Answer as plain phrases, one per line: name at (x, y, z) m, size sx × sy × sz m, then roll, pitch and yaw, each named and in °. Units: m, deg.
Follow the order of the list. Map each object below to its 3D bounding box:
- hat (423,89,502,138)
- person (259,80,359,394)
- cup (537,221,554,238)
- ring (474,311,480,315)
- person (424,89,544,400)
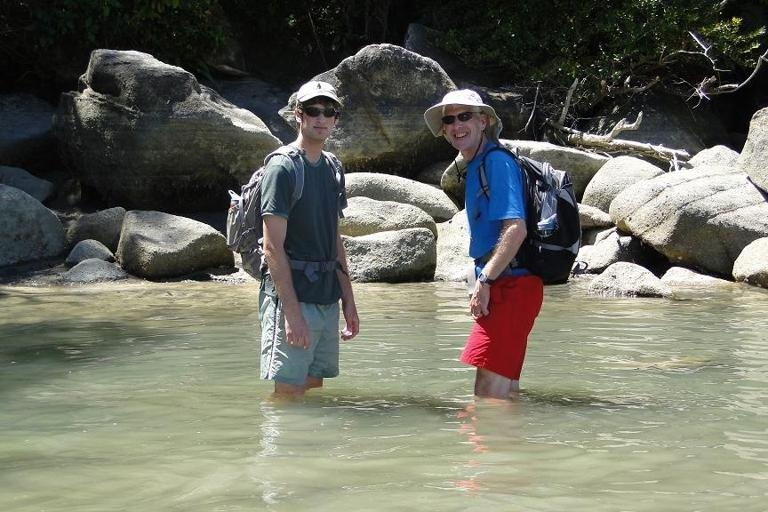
hat at (0.739, -1.409, 8.332) m, size 0.545 × 0.226 × 0.609 m, roll -5°, pitch -32°, yaw 19°
person at (-0.693, -0.200, 7.834) m, size 0.659 × 2.705 × 0.925 m, roll 8°, pitch 16°, yaw 31°
cup at (1.439, -0.242, 7.822) m, size 0.183 × 0.141 × 0.127 m, roll 9°, pitch 1°, yaw 6°
ring at (0.832, 0.517, 7.836) m, size 0.042 × 0.034 × 0.008 m, roll -7°, pitch 13°, yaw 12°
person at (0.971, -0.070, 8.069) m, size 0.744 × 2.897 × 0.989 m, roll -4°, pitch 14°, yaw -16°
